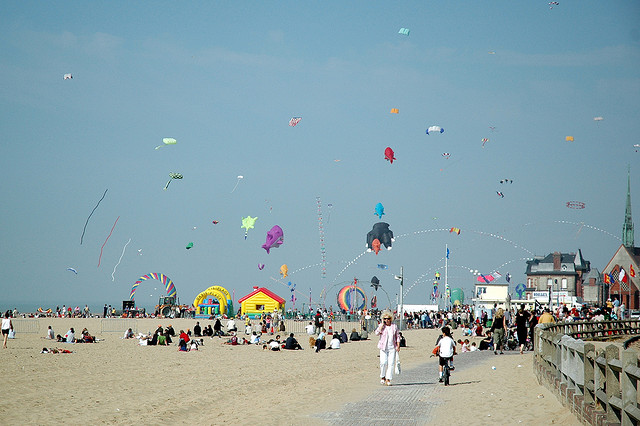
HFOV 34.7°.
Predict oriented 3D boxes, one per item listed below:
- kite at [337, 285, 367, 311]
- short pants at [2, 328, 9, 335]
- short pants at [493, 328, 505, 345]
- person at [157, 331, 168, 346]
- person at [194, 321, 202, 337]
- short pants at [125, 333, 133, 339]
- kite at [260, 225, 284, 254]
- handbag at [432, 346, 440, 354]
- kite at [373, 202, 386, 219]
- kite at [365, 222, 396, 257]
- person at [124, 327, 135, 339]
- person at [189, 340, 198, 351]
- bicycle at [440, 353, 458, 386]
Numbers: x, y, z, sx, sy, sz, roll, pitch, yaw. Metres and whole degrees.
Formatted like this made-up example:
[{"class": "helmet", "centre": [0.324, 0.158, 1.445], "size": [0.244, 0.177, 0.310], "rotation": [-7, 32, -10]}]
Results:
[{"class": "kite", "centre": [2.834, 7.633, 90.418], "size": [2.187, 2.678, 4.636], "rotation": [0, -13, -2]}, {"class": "short pants", "centre": [-17.094, 6.532, 55.819], "size": [0.404, 0.346, 0.417], "rotation": [2, -8, -20]}, {"class": "short pants", "centre": [8.360, 5.882, 48.280], "size": [0.737, 0.768, 0.348], "rotation": [8, -15, -34]}, {"class": "person", "centre": [-9.057, 7.341, 58.921], "size": [0.564, 0.843, 1.406], "rotation": [3, -14, -15]}, {"class": "person", "centre": [-7.583, 7.335, 63.483], "size": [0.567, 1.021, 0.622], "rotation": [1, 8, 0]}, {"class": "short pants", "centre": [-11.939, 7.792, 64.035], "size": [0.165, 0.352, 0.765], "rotation": [-4, -14, 16]}, {"class": "kite", "centre": [-3.007, 1.733, 66.950], "size": [1.226, 1.957, 0.971], "rotation": [16, -14, 19]}, {"class": "handbag", "centre": [4.966, 6.050, 44.722], "size": [0.290, 0.121, 0.430], "rotation": [-24, 19, 37]}, {"class": "kite", "centre": [2.764, -0.087, 47.857], "size": [0.589, 1.052, 0.473], "rotation": [1, -3, -1]}, {"class": "kite", "centre": [4.607, 2.002, 79.398], "size": [2.279, 3.544, 1.025], "rotation": [-1, -50, 15]}, {"class": "person", "centre": [-11.939, 7.652, 64.097], "size": [0.544, 0.842, 0.765], "rotation": [1, -2, -5]}, {"class": "person", "centre": [-6.832, 7.237, 55.445], "size": [0.364, 0.634, 0.816], "rotation": [1, -13, -6]}, {"class": "bicycle", "centre": [5.086, 6.370, 41.023], "size": [0.770, 1.162, 1.759], "rotation": [-1, -15, 4]}]
